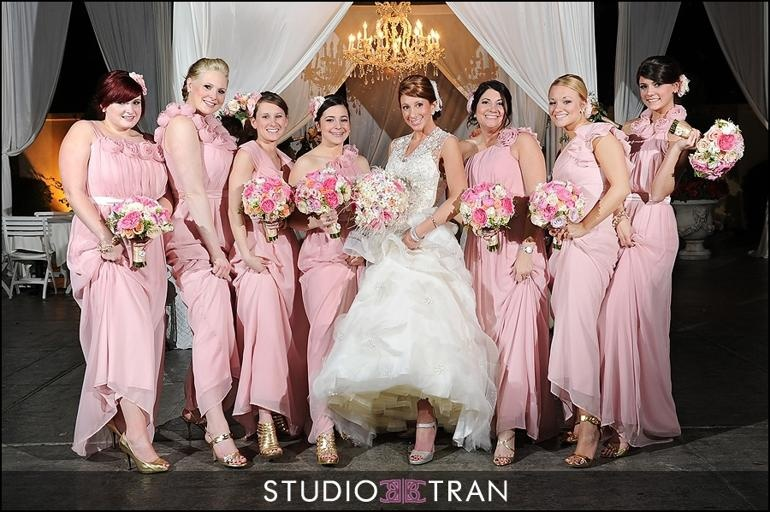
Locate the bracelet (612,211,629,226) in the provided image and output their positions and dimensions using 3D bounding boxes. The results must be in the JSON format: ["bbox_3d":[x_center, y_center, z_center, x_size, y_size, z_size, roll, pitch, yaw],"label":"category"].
[{"bbox_3d":[1.606,-0.256,3.896,0.116,0.040,0.087,-24,-42,34],"label":"bracelet"}]

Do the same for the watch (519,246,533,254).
[{"bbox_3d":[0.964,-0.043,3.823,0.068,0.041,0.069,-1,-6,3],"label":"watch"}]

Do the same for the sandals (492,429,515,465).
[{"bbox_3d":[0.792,1.260,3.752,0.094,0.064,0.261,-1,14,11],"label":"sandals"}]

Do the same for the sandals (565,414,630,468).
[{"bbox_3d":[1.405,1.228,3.780,0.226,0.286,0.693,-7,-13,42],"label":"sandals"}]

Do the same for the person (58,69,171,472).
[{"bbox_3d":[-1.755,0.102,3.677,0.728,2.564,0.666,-4,11,-16],"label":"person"}]

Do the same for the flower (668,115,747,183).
[{"bbox_3d":[2.173,-0.731,3.813,0.454,0.386,0.288,48,5,30],"label":"flower"}]

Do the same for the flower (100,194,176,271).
[{"bbox_3d":[-1.584,-0.126,3.647,0.431,0.426,0.434,13,13,13],"label":"flower"}]

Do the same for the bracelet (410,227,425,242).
[{"bbox_3d":[0.214,-0.145,3.862,0.054,0.093,0.080,-36,16,0],"label":"bracelet"}]

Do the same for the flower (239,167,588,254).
[{"bbox_3d":[0.136,-0.296,3.796,2.227,0.573,0.321,0,10,5],"label":"flower"}]
